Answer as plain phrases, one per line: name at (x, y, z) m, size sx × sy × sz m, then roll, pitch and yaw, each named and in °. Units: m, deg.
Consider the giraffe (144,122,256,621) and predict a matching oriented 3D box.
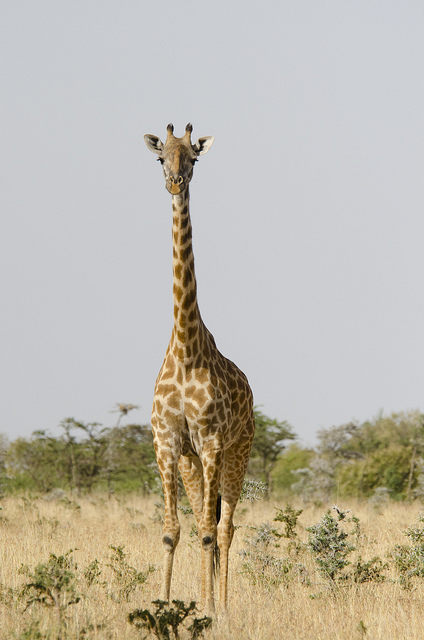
giraffe at (-0.110, 0.659, 12.992) m, size 1.041 × 4.929 × 3.063 m, roll -2°, pitch -18°, yaw 2°
